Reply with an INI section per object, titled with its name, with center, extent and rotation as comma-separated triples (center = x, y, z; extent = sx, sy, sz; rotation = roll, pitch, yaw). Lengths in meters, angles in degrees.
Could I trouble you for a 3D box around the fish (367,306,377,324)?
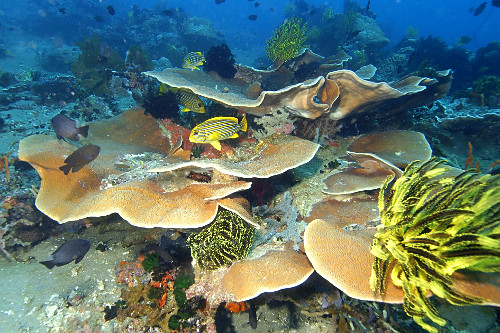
[fish]
center = 3.391, 4.134, 9.246
extent = 0.223, 0.080, 0.321
rotation = 23, 77, 7
